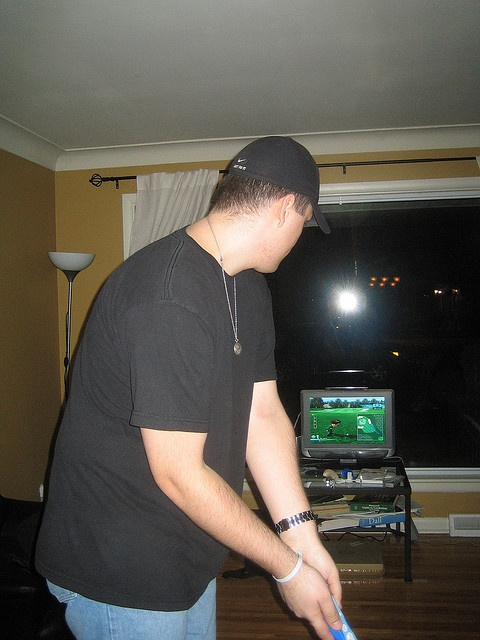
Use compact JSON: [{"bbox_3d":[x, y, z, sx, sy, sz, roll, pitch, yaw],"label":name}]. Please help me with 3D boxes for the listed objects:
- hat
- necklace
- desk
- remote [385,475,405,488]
[{"bbox_3d":[0.089,-0.253,0.995,0.165,0.088,0.118,25,8,-27],"label":"hat"},{"bbox_3d":[-0.026,-0.055,0.940,0.067,0.239,0.009,-14,6,-40],"label":"necklace"},{"bbox_3d":[0.642,1.016,2.796,0.567,0.383,0.624,-1,-12,5],"label":"desk"},{"bbox_3d":[0.793,0.831,2.691,0.077,0.032,0.162,-2,0,30],"label":"remote"}]
